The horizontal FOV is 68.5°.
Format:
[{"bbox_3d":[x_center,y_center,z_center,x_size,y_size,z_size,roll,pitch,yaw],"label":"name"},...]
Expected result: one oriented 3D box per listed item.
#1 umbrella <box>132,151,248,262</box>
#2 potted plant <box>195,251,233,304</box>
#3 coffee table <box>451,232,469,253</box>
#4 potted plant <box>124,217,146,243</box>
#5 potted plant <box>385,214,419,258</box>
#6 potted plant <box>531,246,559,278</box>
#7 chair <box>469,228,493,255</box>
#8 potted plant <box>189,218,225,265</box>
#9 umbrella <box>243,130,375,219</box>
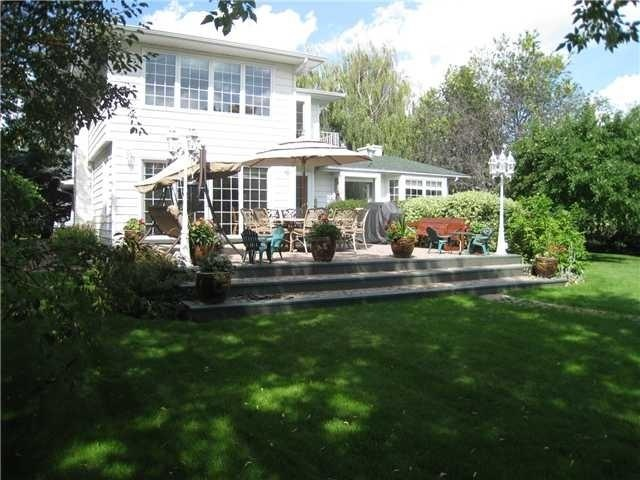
[{"bbox_3d":[-3.435,-0.901,12.389,2.782,3.394,2.868,2,9,28],"label":"umbrella"},{"bbox_3d":[-1.847,0.710,8.097,0.567,0.761,0.610,1,9,-15],"label":"potted plant"},{"bbox_3d":[4.134,0.043,14.181,0.606,0.766,0.627,-2,-2,34],"label":"coffee table"},{"bbox_3d":[-5.157,-0.281,13.061,0.488,0.773,0.716,0,0,25],"label":"potted plant"},{"bbox_3d":[2.100,-0.085,11.874,0.904,1.313,0.928,0,-2,21],"label":"potted plant"},{"bbox_3d":[5.621,0.606,12.026,0.562,0.705,0.671,1,-7,0],"label":"potted plant"},{"bbox_3d":[4.503,0.070,13.344,0.644,1.007,0.751,4,0,13],"label":"chair"},{"bbox_3d":[-2.640,0.066,10.470,0.655,0.959,0.843,4,-8,-36],"label":"potted plant"},{"bbox_3d":[-0.473,-2.083,12.597,2.487,1.866,2.624,-4,5,-29],"label":"umbrella"}]
